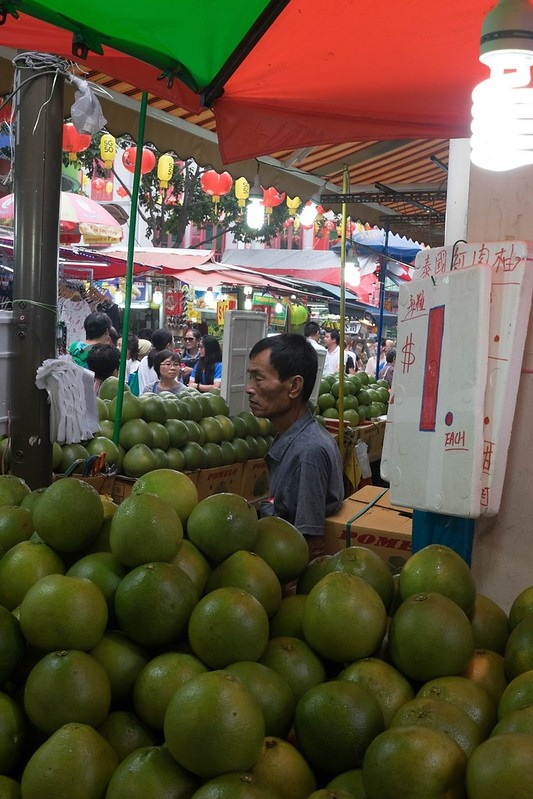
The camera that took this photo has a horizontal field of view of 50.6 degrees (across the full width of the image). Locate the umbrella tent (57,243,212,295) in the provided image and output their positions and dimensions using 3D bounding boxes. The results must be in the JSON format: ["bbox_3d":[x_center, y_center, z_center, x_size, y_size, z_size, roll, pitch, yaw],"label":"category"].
[{"bbox_3d":[-3.275,-3.049,12.616,2.748,0.565,2.053,-3,19,26],"label":"umbrella tent"}]

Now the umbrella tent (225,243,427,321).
[{"bbox_3d":[2.245,-4.921,21.019,5.877,1.485,5.471,23,31,31],"label":"umbrella tent"}]

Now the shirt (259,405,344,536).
[{"bbox_3d":[0.180,0.301,2.658,0.382,0.646,0.734,-1,3,4],"label":"shirt"}]
